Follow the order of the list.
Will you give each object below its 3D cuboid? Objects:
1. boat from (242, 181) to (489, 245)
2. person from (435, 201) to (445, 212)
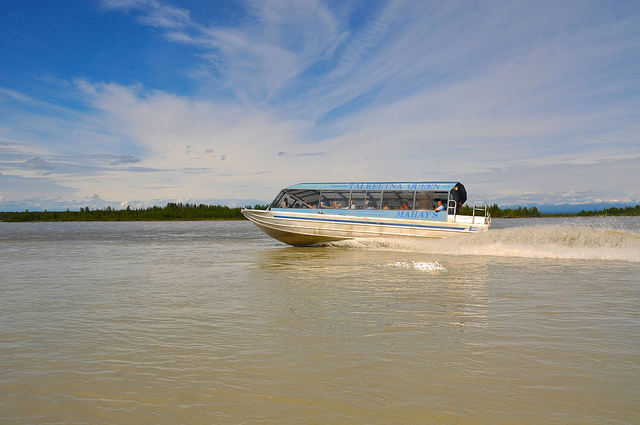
[{"bbox_3d":[3.482,0.204,26.891,17.234,2.984,4.757,0,-6,16],"label":"boat"},{"bbox_3d":[6.935,-0.353,24.402,0.525,0.630,0.539,-1,-1,13],"label":"person"}]
